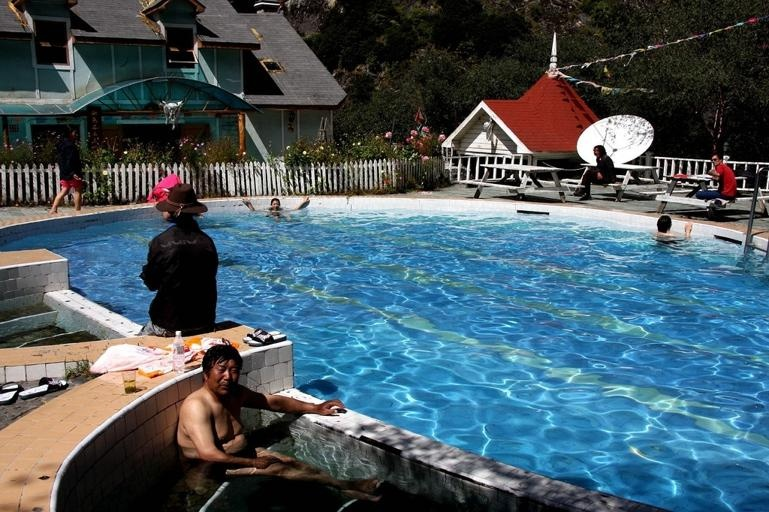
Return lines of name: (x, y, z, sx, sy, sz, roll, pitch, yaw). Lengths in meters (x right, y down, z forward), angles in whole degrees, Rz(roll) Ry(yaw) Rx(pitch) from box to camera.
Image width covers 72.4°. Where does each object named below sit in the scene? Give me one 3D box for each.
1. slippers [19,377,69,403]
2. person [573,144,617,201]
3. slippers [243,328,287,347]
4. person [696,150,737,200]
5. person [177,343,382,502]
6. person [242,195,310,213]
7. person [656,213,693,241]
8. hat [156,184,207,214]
slippers: (-3.886, 1.472, 5.947, 0.507, 0.100, 0.442, -8, 9, -41)
person: (8.746, -3.340, 21.356, 1.108, 2.177, 1.392, -7, 10, -28)
slippers: (-1.489, 1.015, 6.535, 0.362, 0.086, 0.267, -1, 3, -42)
person: (11.080, -2.582, 17.419, 0.983, 1.554, 1.467, 2, 9, 28)
person: (-1.323, 1.586, 5.293, 1.784, 1.326, 0.576, -1, 9, 6)
person: (-4.352, -2.036, 21.188, 2.620, 0.568, 0.782, -1, 8, 6)
person: (8.879, -0.846, 16.207, 1.395, 0.745, 0.934, -6, 9, -32)
hat: (-2.620, -0.692, 6.788, 0.547, 0.203, 0.503, 0, 17, -15)
